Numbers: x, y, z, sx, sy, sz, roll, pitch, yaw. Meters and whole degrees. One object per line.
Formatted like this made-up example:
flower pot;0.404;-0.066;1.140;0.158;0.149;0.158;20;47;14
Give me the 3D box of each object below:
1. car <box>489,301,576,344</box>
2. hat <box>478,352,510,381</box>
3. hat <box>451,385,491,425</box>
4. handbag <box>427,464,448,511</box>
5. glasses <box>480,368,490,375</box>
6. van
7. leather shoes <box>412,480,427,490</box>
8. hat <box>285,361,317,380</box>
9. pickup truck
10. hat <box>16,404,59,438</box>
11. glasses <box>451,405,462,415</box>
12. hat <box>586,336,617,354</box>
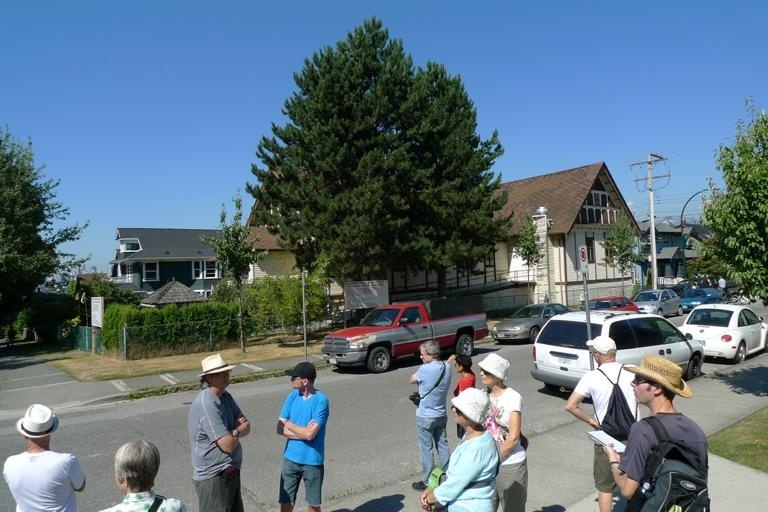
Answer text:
car;6.368;2.801;28.197;3.449;1.207;1.517;2;-5;-44
hat;1.989;1.953;11.710;0.484;0.273;0.461;26;-2;-11
hat;1.411;2.326;10.540;0.493;0.306;0.568;7;21;-33
handbag;0.856;3.811;10.806;0.229;0.636;0.458;0;-7;6
glasses;1.797;2.046;11.656;0.063;0.137;0.094;12;-1;-24
van;6.534;2.154;18.295;3.945;1.571;2.256;-10;6;-34
leather shoes;0.732;4.661;13.434;0.268;0.113;0.135;4;-3;9
hat;-1.463;2.116;12.158;0.414;0.253;0.317;1;-1;-2
pickup truck;0.665;2.782;23.579;5.216;1.894;2.359;1;-6;-34
hat;-5.742;2.720;11.039;0.630;0.288;0.756;7;21;-29
glasses;1.159;2.476;10.603;0.088;0.161;0.116;-35;-7;8
hat;3.993;1.720;12.370;0.399;0.287;0.545;-11;13;-43
